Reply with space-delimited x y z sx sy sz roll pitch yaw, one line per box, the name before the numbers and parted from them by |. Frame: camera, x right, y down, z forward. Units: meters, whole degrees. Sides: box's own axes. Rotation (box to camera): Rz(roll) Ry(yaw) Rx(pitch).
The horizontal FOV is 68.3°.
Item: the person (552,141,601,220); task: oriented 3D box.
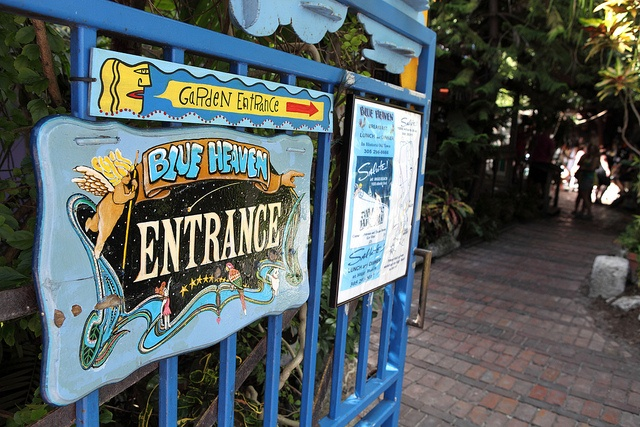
person | 7.448 -0.900 13.191 0.593 2.043 0.708 9 14 29
